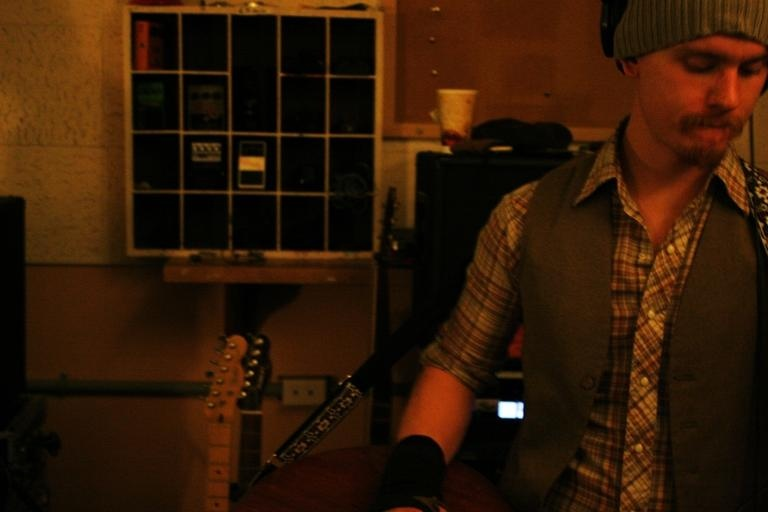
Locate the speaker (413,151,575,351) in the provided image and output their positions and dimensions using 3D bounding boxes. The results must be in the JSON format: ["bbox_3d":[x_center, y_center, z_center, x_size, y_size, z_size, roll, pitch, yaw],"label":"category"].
[{"bbox_3d":[0.458,0.051,3.834,0.485,0.810,0.480,2,4,32],"label":"speaker"}]

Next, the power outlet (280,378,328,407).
[{"bbox_3d":[-0.361,0.606,4.628,0.231,0.123,0.150,-1,5,1],"label":"power outlet"}]
